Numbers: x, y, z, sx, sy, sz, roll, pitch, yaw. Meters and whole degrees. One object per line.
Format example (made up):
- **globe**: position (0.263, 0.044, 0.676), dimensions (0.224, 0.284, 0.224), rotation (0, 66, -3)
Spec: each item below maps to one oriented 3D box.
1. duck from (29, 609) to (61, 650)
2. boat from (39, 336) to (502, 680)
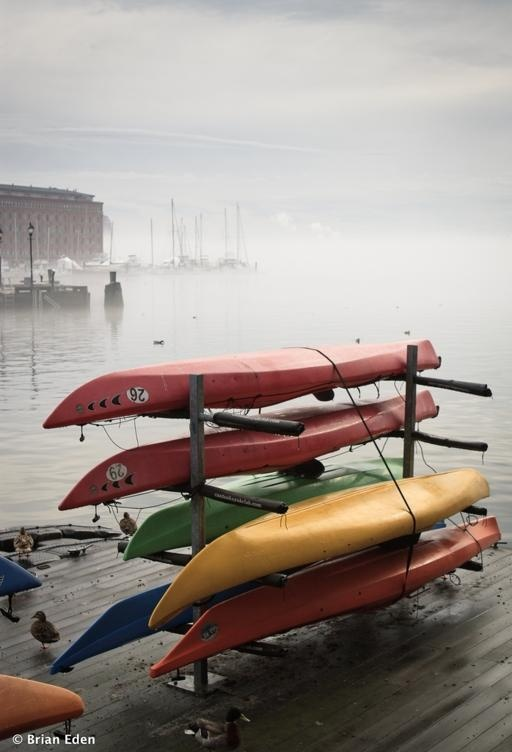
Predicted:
- **duck**: position (-1.672, 1.981, 6.377), dimensions (0.215, 0.296, 0.292), rotation (-4, 8, -16)
- **boat**: position (0.543, 0.822, 7.140), dimensions (4.832, 2.169, 2.122), rotation (-8, 7, -44)
